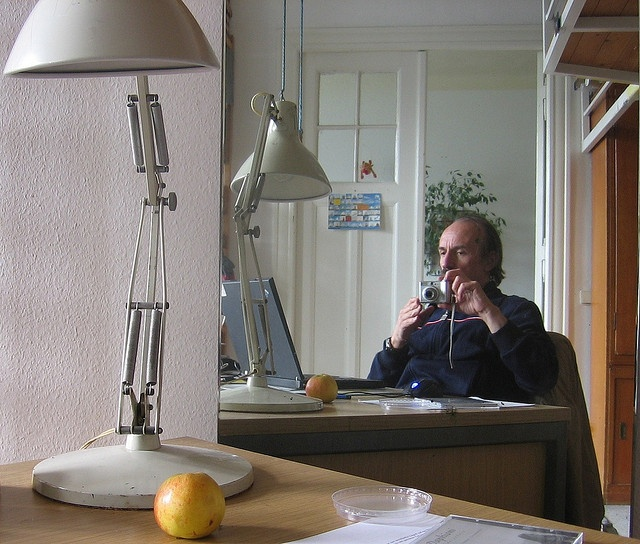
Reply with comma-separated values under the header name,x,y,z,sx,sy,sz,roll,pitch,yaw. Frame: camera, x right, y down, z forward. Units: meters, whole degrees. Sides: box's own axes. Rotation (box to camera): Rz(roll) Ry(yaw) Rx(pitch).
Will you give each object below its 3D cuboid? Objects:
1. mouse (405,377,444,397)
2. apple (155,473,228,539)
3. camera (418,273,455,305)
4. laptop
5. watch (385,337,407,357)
name,x,y,z,sx,sy,sz,roll,pitch,yaw
mouse,0.209,0.229,1.267,0.053,0.020,0.038,2,-2,-12
apple,-0.142,0.254,0.693,0.072,0.064,0.049,2,2,31
camera,0.217,0.035,1.190,0.058,0.041,0.060,-1,-6,9
laptop,-0.030,0.103,1.239,0.232,0.195,0.267,3,-5,-33
watch,0.138,0.138,1.187,0.033,0.023,0.044,0,0,6
